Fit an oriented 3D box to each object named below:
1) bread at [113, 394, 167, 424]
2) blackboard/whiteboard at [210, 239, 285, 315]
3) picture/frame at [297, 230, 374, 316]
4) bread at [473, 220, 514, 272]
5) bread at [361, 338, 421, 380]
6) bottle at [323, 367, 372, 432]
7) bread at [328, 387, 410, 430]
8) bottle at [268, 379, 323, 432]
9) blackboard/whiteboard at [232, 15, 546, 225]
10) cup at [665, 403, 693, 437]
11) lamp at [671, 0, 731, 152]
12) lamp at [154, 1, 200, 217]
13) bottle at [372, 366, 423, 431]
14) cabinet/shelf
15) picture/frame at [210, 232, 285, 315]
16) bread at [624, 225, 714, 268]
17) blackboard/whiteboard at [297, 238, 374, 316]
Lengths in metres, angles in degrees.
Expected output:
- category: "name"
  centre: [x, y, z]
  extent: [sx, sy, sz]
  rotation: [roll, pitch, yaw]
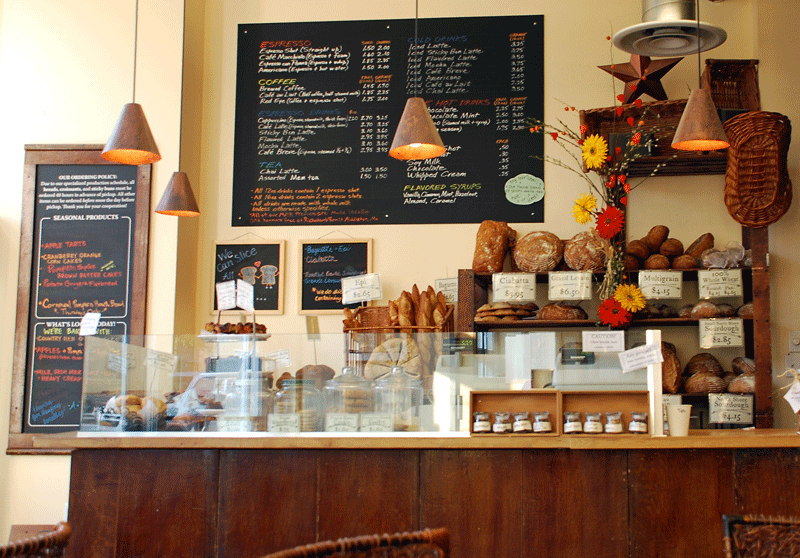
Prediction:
- category: "bread"
  centre: [-1.402, 0.685, 5.017]
  extent: [0.198, 0.081, 0.165]
  rotation: [1, 0, 35]
- category: "blackboard/whiteboard"
  centre: [-1.085, -0.008, 6.713]
  extent: [0.585, 0.553, 0.025]
  rotation: [-1, -8, 1]
- category: "picture/frame"
  centre: [-0.470, -0.013, 6.741]
  extent: [0.605, 0.543, 0.027]
  rotation: [-1, -10, 2]
- category: "bread"
  centre: [0.626, -0.223, 6.415]
  extent: [0.274, 0.354, 0.114]
  rotation: [0, -22, 12]
- category: "bread"
  centre: [-0.036, 0.426, 4.948]
  extent: [0.248, 0.225, 0.059]
  rotation: [3, 0, 9]
- category: "bottle"
  centre: [-0.287, 0.661, 5.052]
  extent: [0.265, 0.363, 0.255]
  rotation: [1, 0, 0]
- category: "bread"
  centre: [-0.174, 0.695, 4.945]
  extent: [0.434, 0.197, 0.232]
  rotation: [0, -1, 4]
- category: "bottle"
  centre: [-0.586, 0.690, 5.032]
  extent: [0.323, 0.283, 0.167]
  rotation: [2, -7, -26]
- category: "blackboard/whiteboard"
  centre: [-0.002, -1.105, 6.805]
  extent: [1.678, 1.074, 0.034]
  rotation: [-1, -7, 2]
- category: "cup"
  centre: [1.506, 0.759, 4.992]
  extent: [0.167, 0.174, 0.162]
  rotation: [2, -7, 0]
- category: "lamp"
  centre: [1.799, -1.259, 5.706]
  extent: [0.292, 1.108, 0.949]
  rotation: [-3, -8, 18]
- category: "lamp"
  centre: [-1.530, -1.132, 6.470]
  extent: [0.266, 1.463, 0.615]
  rotation: [1, -8, -13]
- category: "bottle"
  centre: [0.021, 0.648, 5.059]
  extent: [0.283, 0.296, 0.274]
  rotation: [-4, -8, 5]
- category: "cabinet/shelf"
  centre: [1.459, 0.452, 6.272]
  extent: [2.053, 1.084, 0.559]
  rotation: [-2, -8, 11]
- category: "picture/frame"
  centre: [-1.093, -0.018, 6.725]
  extent: [0.635, 0.669, 0.029]
  rotation: [-1, -9, 1]
- category: "bread"
  centre: [1.763, -0.198, 6.308]
  extent: [0.337, 0.168, 0.451]
  rotation: [-3, 1, 31]
- category: "blackboard/whiteboard"
  centre: [-0.453, 0.008, 6.734]
  extent: [0.589, 0.532, 0.025]
  rotation: [-1, -11, 2]
